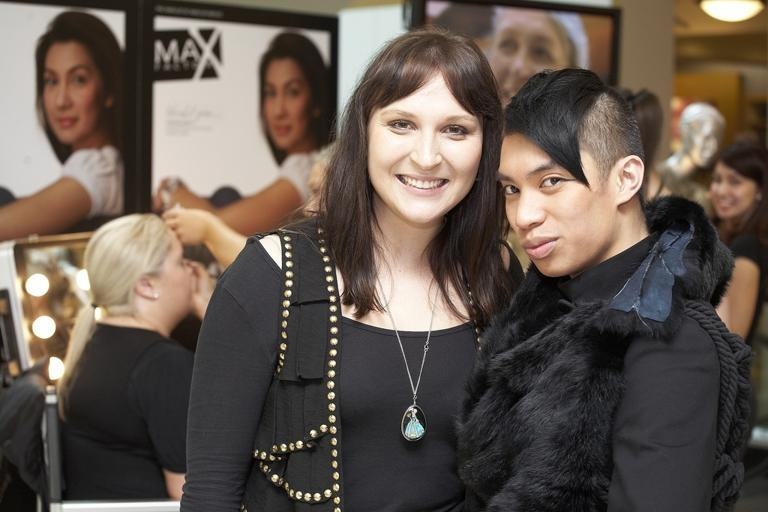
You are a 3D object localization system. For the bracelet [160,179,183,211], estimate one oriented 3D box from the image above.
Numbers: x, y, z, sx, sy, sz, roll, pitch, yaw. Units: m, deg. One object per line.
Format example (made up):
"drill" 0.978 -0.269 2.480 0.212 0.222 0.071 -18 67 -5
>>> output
"bracelet" -0.855 -0.248 2.877 0.073 0.117 0.041 -1 5 -33
